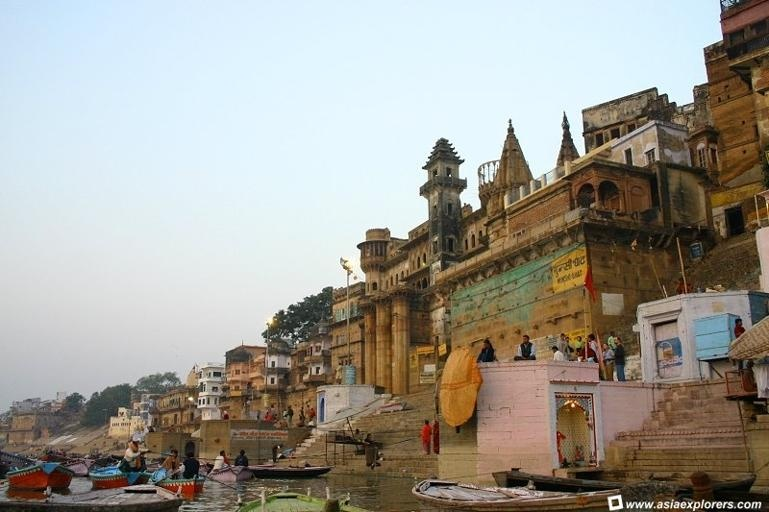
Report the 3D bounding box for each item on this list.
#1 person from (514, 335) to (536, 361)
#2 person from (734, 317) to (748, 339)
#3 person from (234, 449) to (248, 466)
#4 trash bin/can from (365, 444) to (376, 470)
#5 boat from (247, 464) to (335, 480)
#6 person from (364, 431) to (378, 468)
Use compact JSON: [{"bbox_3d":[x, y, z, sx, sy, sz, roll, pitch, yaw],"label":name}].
[{"bbox_3d":[5.485,3.608,32.513,0.617,1.136,0.809,-2,-21,5],"label":"person"},{"bbox_3d":[14.028,2.801,32.969,0.317,0.959,1.209,-12,-24,28],"label":"person"},{"bbox_3d":[-7.069,10.026,41.003,0.535,0.869,1.362,2,-21,-7],"label":"person"},{"bbox_3d":[-0.662,9.737,40.746,0.618,1.320,0.748,2,-21,-5],"label":"trash bin/can"},{"bbox_3d":[-4.571,10.584,40.621,3.832,0.531,0.914,-1,-41,4],"label":"boat"},{"bbox_3d":[-0.647,9.717,40.808,0.533,1.034,0.599,4,-1,21],"label":"person"}]
